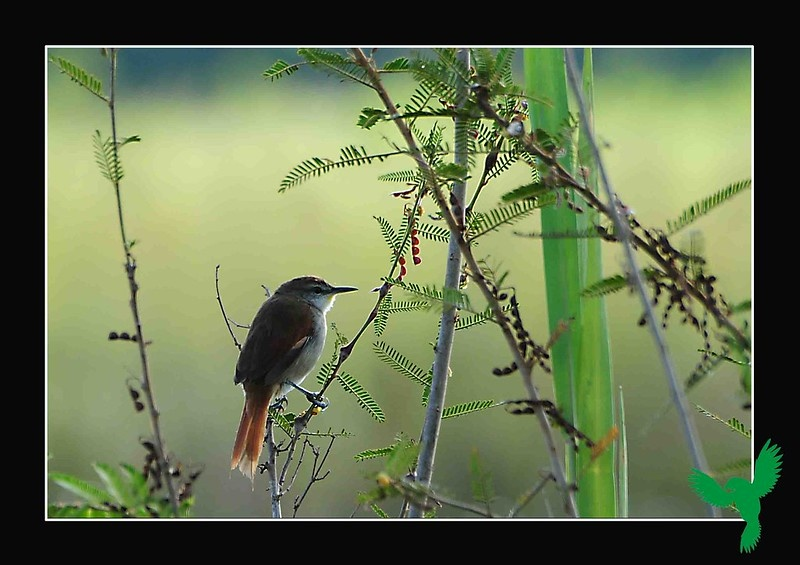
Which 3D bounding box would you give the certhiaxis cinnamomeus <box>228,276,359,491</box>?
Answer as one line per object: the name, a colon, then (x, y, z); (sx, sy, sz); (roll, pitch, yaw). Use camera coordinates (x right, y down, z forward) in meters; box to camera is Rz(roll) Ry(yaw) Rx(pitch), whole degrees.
certhiaxis cinnamomeus: (-0.424, 0.293, 3.237); (0.241, 0.797, 0.454); (2, -8, 21)
